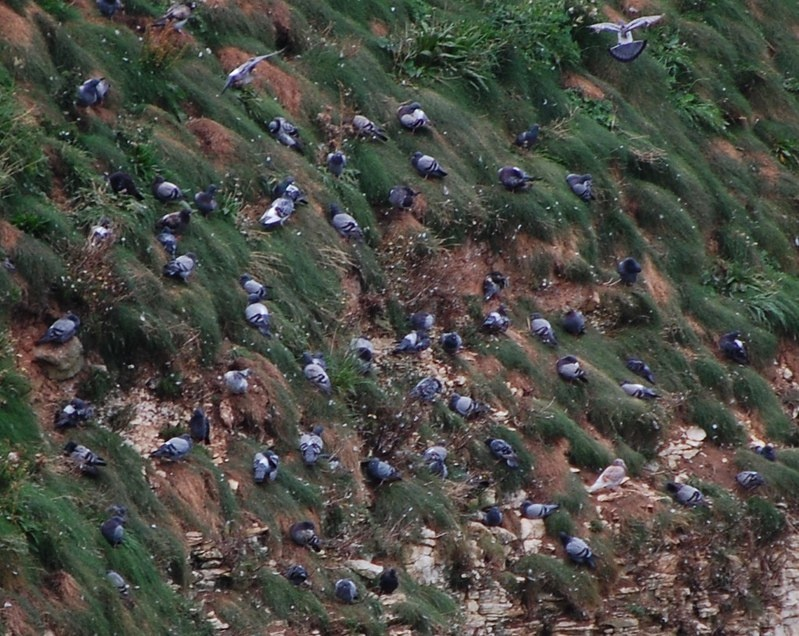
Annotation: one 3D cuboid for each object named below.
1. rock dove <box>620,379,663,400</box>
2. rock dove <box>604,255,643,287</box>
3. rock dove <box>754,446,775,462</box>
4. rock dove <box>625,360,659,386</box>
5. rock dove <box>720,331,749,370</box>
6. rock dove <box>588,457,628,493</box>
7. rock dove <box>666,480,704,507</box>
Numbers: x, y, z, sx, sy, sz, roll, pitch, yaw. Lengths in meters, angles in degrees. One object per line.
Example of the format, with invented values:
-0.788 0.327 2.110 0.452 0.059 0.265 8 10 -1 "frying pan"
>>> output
4.807 1.453 50.386 0.783 0.420 0.361 -10 47 -8 "rock dove"
4.619 -0.918 51.365 0.475 0.697 0.291 17 67 -2 "rock dove"
7.236 2.715 50.025 0.285 0.087 0.320 22 21 -3 "rock dove"
4.803 1.043 50.821 0.780 0.265 0.345 30 77 -2 "rock dove"
6.795 0.670 51.539 0.457 0.476 0.699 -22 88 0 "rock dove"
4.022 3.055 48.524 0.780 0.637 0.474 -3 14 -10 "rock dove"
5.516 3.350 48.798 0.653 0.370 0.291 21 24 15 "rock dove"
